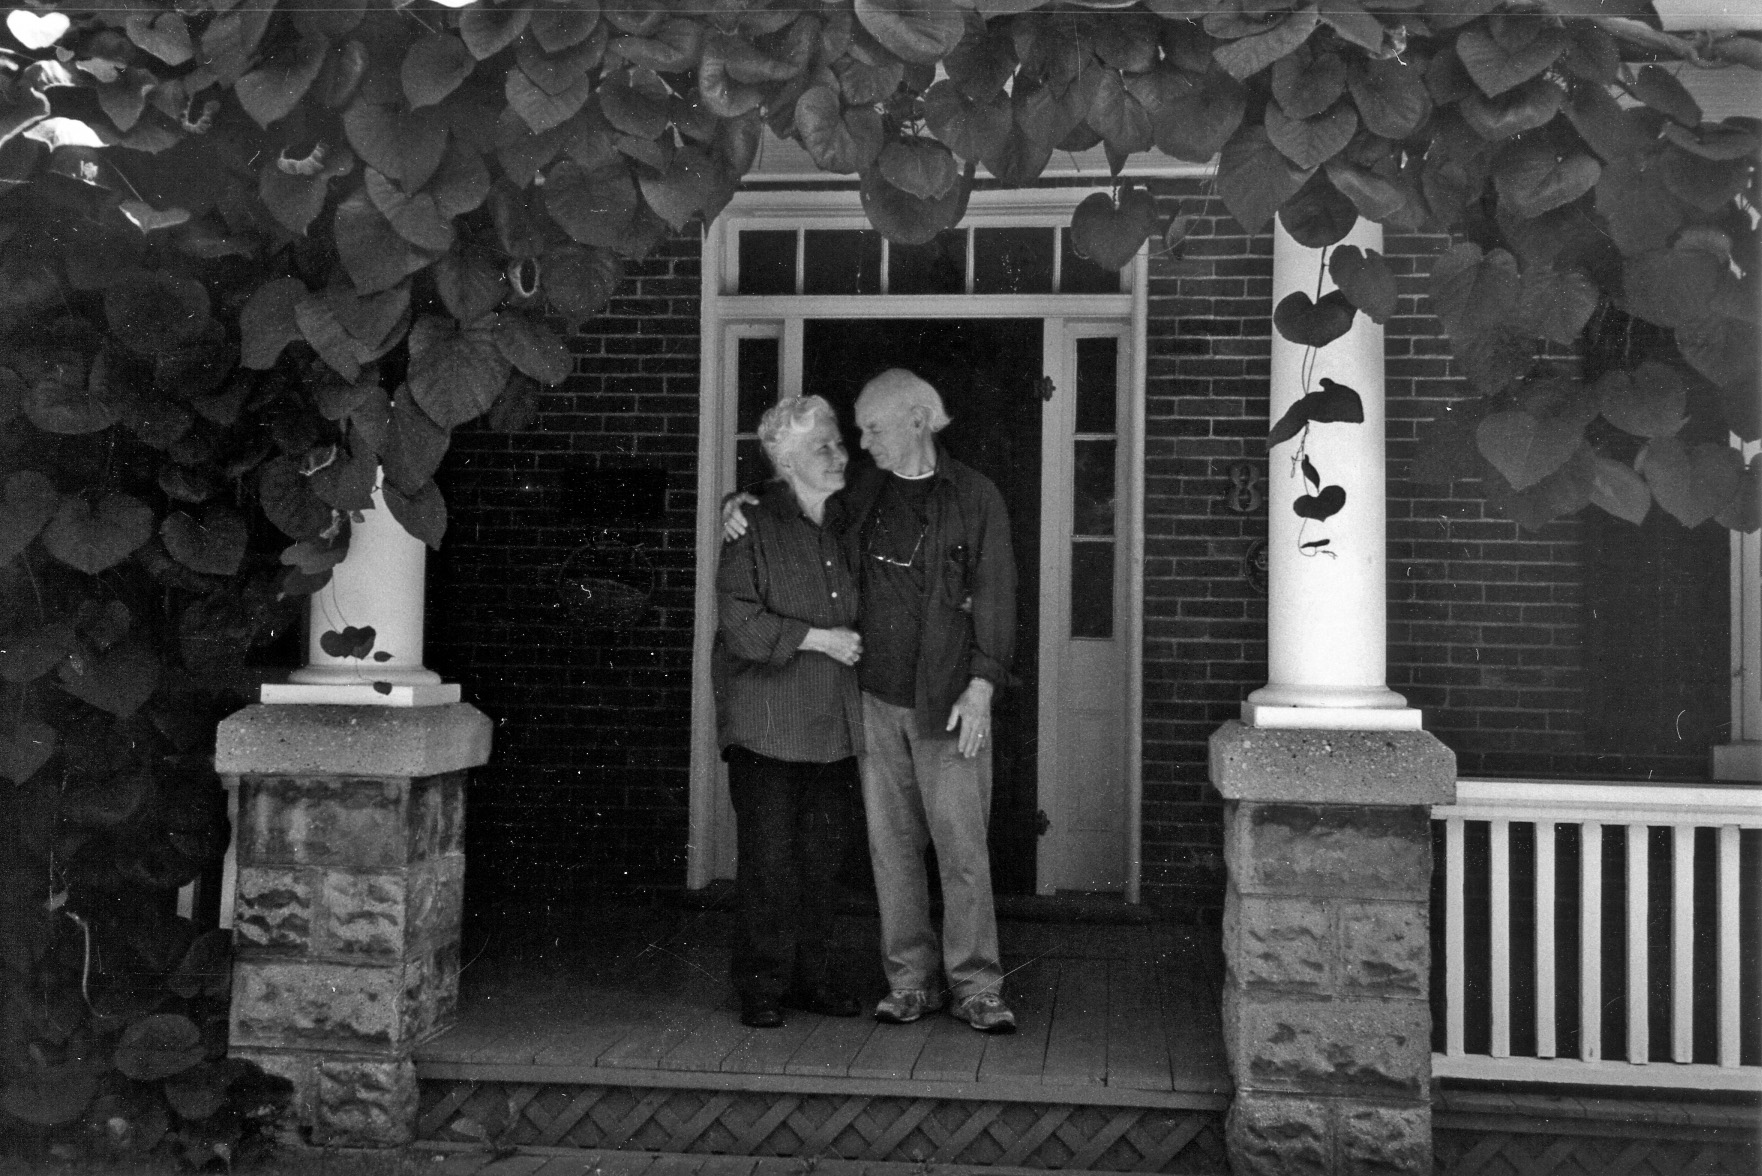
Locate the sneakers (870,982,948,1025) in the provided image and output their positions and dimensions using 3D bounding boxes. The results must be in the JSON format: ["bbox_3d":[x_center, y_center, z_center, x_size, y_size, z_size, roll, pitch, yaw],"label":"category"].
[{"bbox_3d":[0.105,1.528,7.011,0.287,0.117,0.097,6,-8,-32],"label":"sneakers"}]

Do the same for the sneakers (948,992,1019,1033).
[{"bbox_3d":[0.370,1.516,6.894,0.102,0.097,0.231,0,-8,-36],"label":"sneakers"}]

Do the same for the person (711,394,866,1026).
[{"bbox_3d":[-0.323,0.431,6.977,0.526,2.213,0.610,0,9,-13],"label":"person"}]

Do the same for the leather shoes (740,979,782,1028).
[{"bbox_3d":[-0.428,1.474,6.881,0.161,0.141,0.136,3,9,6],"label":"leather shoes"}]
